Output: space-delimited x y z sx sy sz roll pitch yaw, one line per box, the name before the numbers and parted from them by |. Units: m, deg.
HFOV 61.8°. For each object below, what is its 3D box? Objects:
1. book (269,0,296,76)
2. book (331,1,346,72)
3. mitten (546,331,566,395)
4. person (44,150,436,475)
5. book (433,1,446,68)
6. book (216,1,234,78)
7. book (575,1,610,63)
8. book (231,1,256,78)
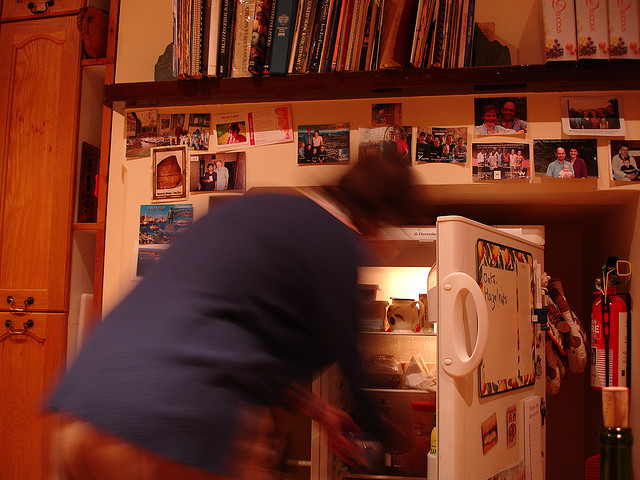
book | -0.185 -1.022 2.687 0.097 0.311 0.285 7 -16 -4
book | 0.079 -0.998 2.685 0.045 0.355 0.047 3 14 -26
mitten | 1.242 0.646 2.813 0.092 0.357 0.185 0 0 24
person | -0.228 0.208 1.527 1.003 0.665 0.337 0 0 -26
book | 0.580 -0.993 2.592 0.050 0.304 0.050 0 0 -9
book | -0.491 -1.034 2.729 0.046 0.346 0.296 6 13 -10
book | 1.295 -0.962 2.544 0.149 0.287 0.107 3 3 12
book | -0.395 -1.028 2.742 0.065 0.345 0.171 1 5 2
